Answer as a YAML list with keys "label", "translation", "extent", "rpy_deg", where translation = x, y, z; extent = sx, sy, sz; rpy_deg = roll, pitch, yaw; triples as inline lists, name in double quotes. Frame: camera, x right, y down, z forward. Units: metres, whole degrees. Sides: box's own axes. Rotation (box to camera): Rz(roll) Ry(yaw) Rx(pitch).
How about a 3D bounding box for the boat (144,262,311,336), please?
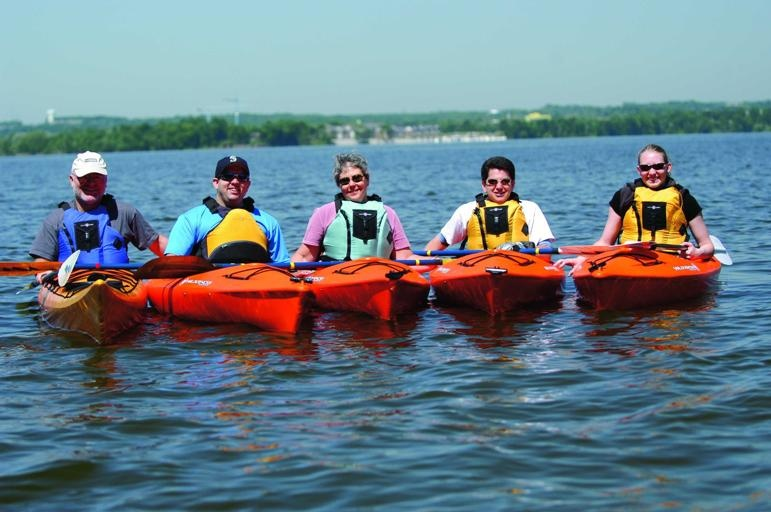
- label: "boat"
  translation: [-1.767, 0.477, 12.012]
  extent: [1.968, 0.723, 0.532]
  rpy_deg: [1, 10, 31]

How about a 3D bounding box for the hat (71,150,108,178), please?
- label: "hat"
  translation: [-3.337, -1.034, 11.805]
  extent: [0.419, 0.170, 0.435]
  rpy_deg: [-2, 1, -20]

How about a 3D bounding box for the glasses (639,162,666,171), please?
- label: "glasses"
  translation: [3.176, -1.057, 12.503]
  extent: [0.292, 0.095, 0.085]
  rpy_deg: [-2, 8, 7]

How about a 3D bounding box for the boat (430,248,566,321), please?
- label: "boat"
  translation: [1.302, 0.302, 12.315]
  extent: [1.498, 0.731, 0.854]
  rpy_deg: [-3, 7, 4]

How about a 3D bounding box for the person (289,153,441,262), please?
- label: "person"
  translation: [-0.447, -0.568, 12.542]
  extent: [1.390, 1.319, 0.537]
  rpy_deg: [-4, 9, 1]

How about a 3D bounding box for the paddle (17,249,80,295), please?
- label: "paddle"
  translation: [-3.568, 0.178, 11.392]
  extent: [1.177, 0.251, 0.125]
  rpy_deg: [-17, 45, 21]

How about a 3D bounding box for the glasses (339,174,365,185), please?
- label: "glasses"
  translation: [-0.428, -0.907, 12.442]
  extent: [0.343, 0.112, 0.126]
  rpy_deg: [-1, 8, 12]

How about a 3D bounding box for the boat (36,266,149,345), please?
- label: "boat"
  translation: [-3.247, 0.526, 11.690]
  extent: [1.143, 0.755, 1.165]
  rpy_deg: [-5, 7, -14]

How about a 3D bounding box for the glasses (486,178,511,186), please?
- label: "glasses"
  translation: [1.361, -0.892, 12.666]
  extent: [0.276, 0.087, 0.084]
  rpy_deg: [-2, 8, 4]

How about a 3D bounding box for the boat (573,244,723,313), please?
- label: "boat"
  translation: [3.064, 0.238, 12.404]
  extent: [1.674, 0.698, 0.651]
  rpy_deg: [-7, 7, -33]
